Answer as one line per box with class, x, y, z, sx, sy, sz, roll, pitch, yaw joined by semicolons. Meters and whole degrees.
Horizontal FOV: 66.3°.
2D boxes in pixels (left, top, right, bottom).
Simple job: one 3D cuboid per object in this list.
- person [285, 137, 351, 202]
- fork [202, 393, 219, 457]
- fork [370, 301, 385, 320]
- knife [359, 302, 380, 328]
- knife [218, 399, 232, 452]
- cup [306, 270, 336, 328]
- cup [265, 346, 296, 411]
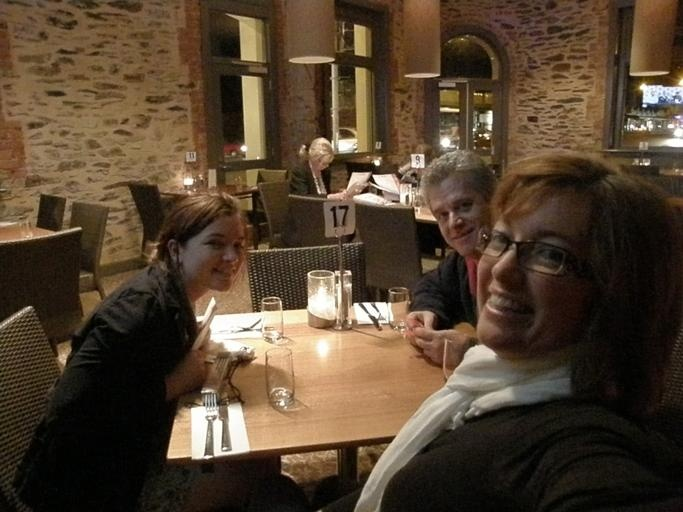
person;-0.235;-0.965;5.925;0.687;0.666;0.758;10;20;14
fork;-0.367;0.481;1.478;0.047;0.028;0.260;-5;25;-10
fork;0.165;0.240;2.276;0.042;0.014;0.067;-2;25;-10
knife;0.124;0.260;2.222;0.033;0.007;0.161;-14;17;-9
knife;-0.334;0.479;1.494;0.031;0.013;0.253;-3;16;-15
cup;-0.072;0.198;2.185;0.142;0.198;0.138;0;5;0
cup;-0.187;0.373;1.611;0.084;0.159;0.141;-4;11;-8
